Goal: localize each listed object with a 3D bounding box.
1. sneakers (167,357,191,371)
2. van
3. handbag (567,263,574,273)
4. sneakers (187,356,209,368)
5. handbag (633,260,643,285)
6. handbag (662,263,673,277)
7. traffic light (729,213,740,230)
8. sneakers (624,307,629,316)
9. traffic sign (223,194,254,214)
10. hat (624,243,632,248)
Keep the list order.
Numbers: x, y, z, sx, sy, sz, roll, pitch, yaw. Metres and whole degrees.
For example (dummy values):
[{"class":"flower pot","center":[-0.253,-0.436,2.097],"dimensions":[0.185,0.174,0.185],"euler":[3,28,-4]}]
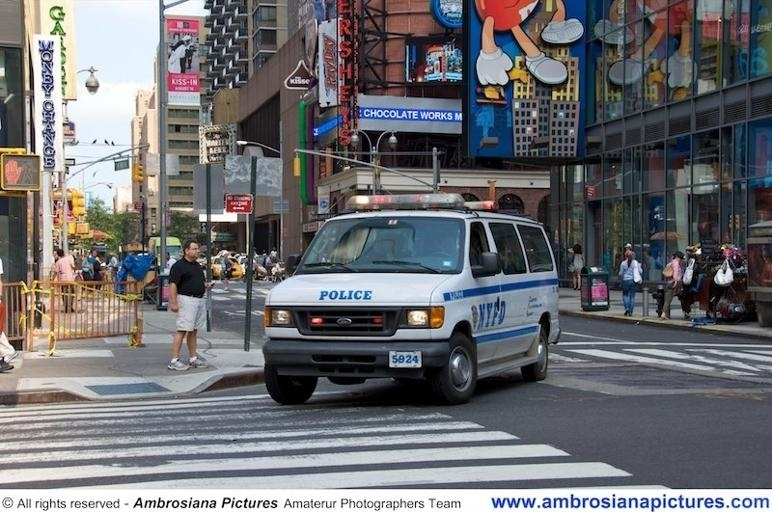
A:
[{"class":"sneakers","center":[-4.056,2.107,19.508],"dimensions":[0.392,0.184,0.224],"euler":[1,2,-14]},{"class":"van","center":[0.626,0.750,16.925],"dimensions":[5.181,3.334,2.472],"euler":[4,1,-42]},{"class":"handbag","center":[9.184,0.602,50.270],"dimensions":[0.155,0.435,0.317],"euler":[17,-8,-13]},{"class":"sneakers","center":[-3.760,2.081,19.958],"dimensions":[0.219,0.199,0.431],"euler":[6,4,37]},{"class":"handbag","center":[8.361,0.560,33.383],"dimensions":[0.413,1.076,0.964],"euler":[0,-6,12]},{"class":"handbag","center":[8.929,0.446,31.767],"dimensions":[0.273,0.558,0.533],"euler":[13,-2,20]},{"class":"traffic light","center":[12.769,-1.279,36.798],"dimensions":[0.103,0.407,0.420],"euler":[4,-1,-16]},{"class":"sneakers","center":[7.800,1.791,32.551],"dimensions":[0.218,0.268,0.688],"euler":[-1,-4,12]},{"class":"traffic sign","center":[-3.386,-1.209,22.986],"dimensions":[0.610,0.433,0.083],"euler":[0,0,-25]},{"class":"hat","center":[9.887,-0.448,40.995],"dimensions":[0.322,0.096,0.328],"euler":[0,-4,7]}]
